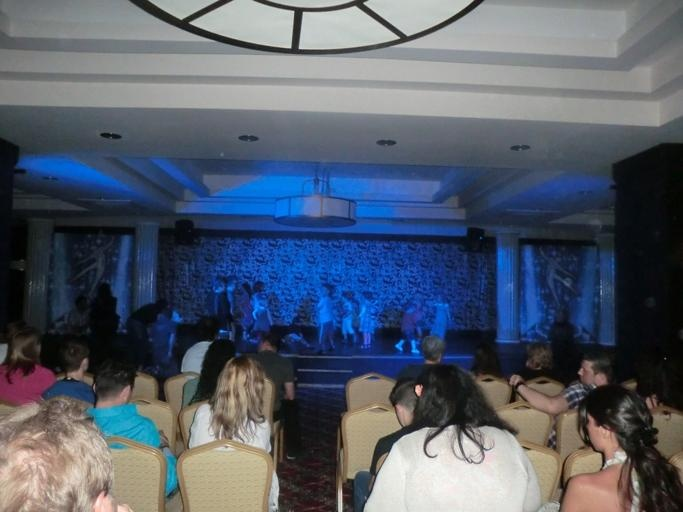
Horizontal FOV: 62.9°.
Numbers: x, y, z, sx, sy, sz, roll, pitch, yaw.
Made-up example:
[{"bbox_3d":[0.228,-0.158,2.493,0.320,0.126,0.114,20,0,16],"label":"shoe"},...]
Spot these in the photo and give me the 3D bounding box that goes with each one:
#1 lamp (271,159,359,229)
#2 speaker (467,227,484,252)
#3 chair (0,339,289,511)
[{"bbox_3d":[-0.265,-0.861,9.452,1.213,0.881,1.232,-2,-5,41],"label":"lamp"},{"bbox_3d":[3.191,-0.417,13.210,0.463,0.570,0.235,3,-4,-29],"label":"speaker"},{"bbox_3d":[-0.930,1.259,3.965,1.056,1.083,1.372,0,-3,19],"label":"chair"}]
